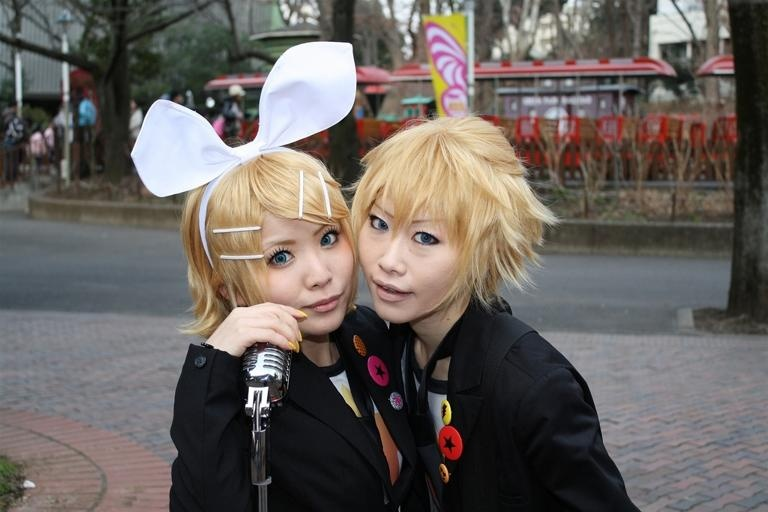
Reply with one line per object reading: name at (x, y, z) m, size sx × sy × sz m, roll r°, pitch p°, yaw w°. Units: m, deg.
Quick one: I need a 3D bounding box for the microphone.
microphone at (-0.509, 0.539, 4.172) m, size 0.161 × 0.305 × 0.109 m, roll -1°, pitch -18°, yaw 22°
